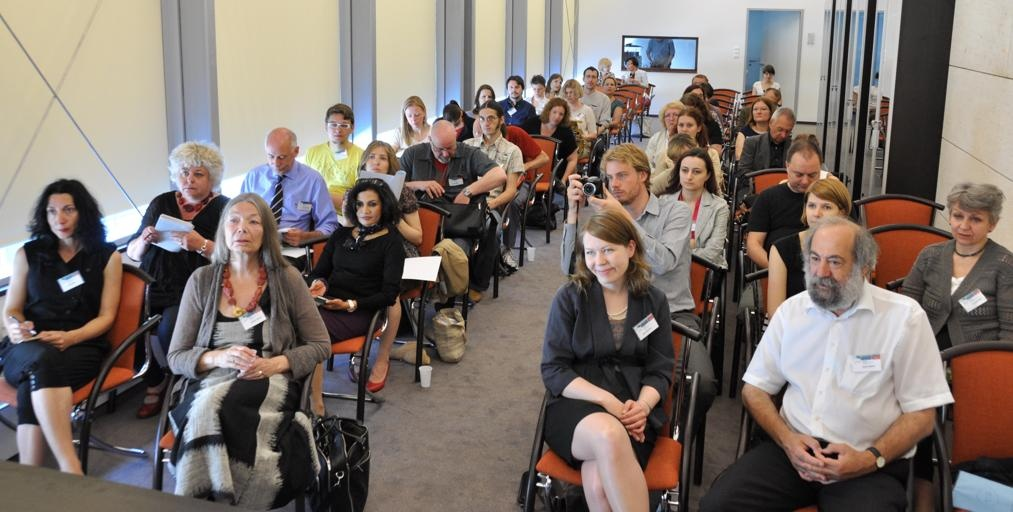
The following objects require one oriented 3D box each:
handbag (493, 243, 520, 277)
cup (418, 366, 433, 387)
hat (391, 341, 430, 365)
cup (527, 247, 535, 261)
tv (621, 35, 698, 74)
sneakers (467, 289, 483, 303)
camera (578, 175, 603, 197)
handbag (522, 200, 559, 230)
[{"bbox_3d":[-0.009,0.007,7.932,0.184,0.204,0.515,-2,-17,3],"label":"handbag"},{"bbox_3d":[-0.740,1.109,5.976,0.166,0.161,0.162,-3,1,0],"label":"cup"},{"bbox_3d":[-0.969,0.911,6.275,0.257,0.090,0.268,1,2,4],"label":"hat"},{"bbox_3d":[0.341,-0.030,8.640,0.161,0.168,0.170,-1,4,0],"label":"cup"},{"bbox_3d":[4.859,-6.194,19.676,1.746,0.861,0.070,3,10,15],"label":"tv"},{"bbox_3d":[-0.362,0.437,7.272,0.185,0.202,0.507,1,-3,-2],"label":"sneakers"},{"bbox_3d":[0.677,-0.556,5.085,0.244,0.124,0.247,1,6,11],"label":"camera"},{"bbox_3d":[0.519,-0.580,9.538,0.501,0.433,0.350,2,16,4],"label":"handbag"}]
